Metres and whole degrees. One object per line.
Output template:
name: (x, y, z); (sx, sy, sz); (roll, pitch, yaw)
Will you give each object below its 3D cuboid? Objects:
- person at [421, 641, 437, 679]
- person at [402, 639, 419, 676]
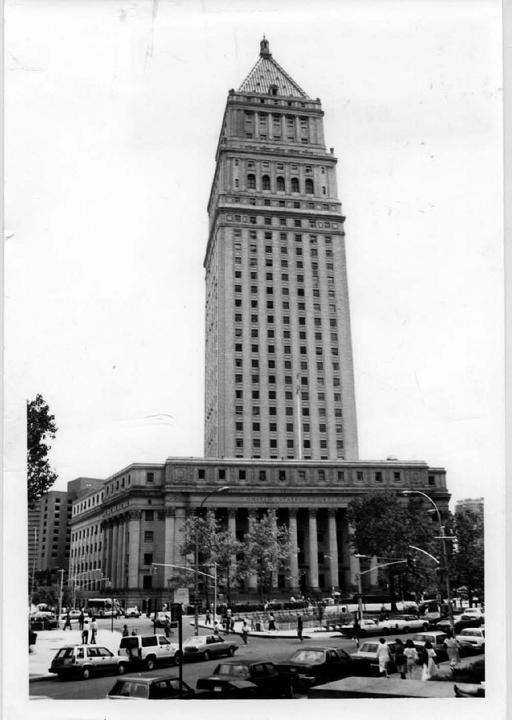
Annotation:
person: (3.143, 5.444, 17.077); (0.274, 0.584, 0.985); (-4, -15, 9)
person: (2.891, 5.561, 17.519); (0.269, 0.650, 0.795); (-4, -15, 9)
